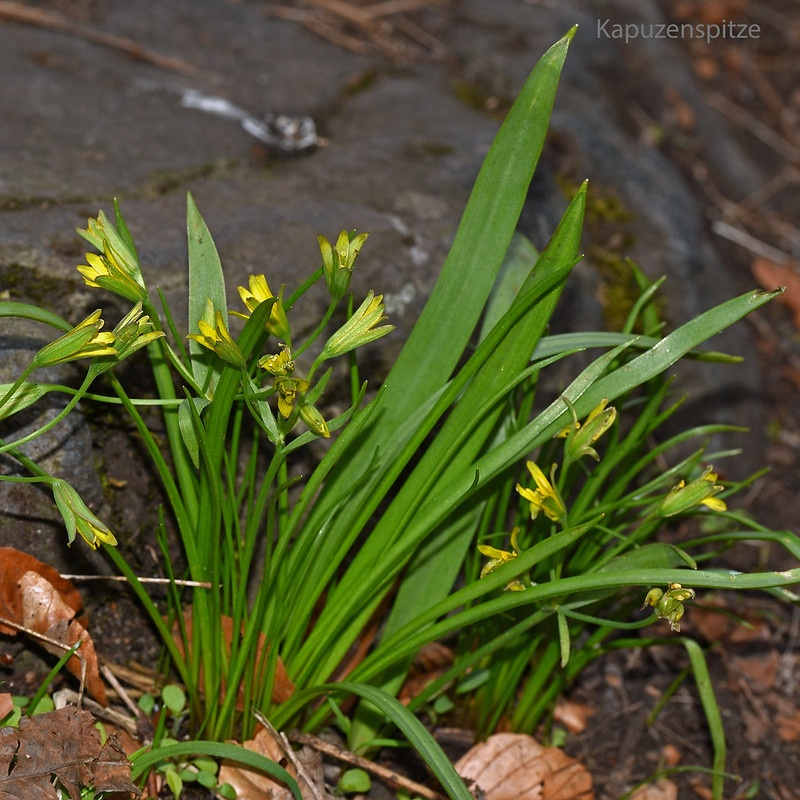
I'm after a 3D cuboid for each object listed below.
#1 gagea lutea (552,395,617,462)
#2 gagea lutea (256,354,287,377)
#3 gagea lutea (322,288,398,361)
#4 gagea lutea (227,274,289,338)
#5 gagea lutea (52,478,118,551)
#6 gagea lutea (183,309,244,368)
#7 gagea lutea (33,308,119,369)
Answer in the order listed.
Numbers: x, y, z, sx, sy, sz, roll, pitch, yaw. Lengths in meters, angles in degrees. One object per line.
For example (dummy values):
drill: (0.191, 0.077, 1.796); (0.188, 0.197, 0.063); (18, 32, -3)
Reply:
gagea lutea: (0.339, 0.065, 1.663); (0.091, 0.104, 0.101); (39, 6, 23)
gagea lutea: (-0.215, -0.059, 1.556); (0.039, 0.052, 0.023); (67, 16, -9)
gagea lutea: (-0.074, -0.137, 1.724); (0.084, 0.198, 0.077); (65, 5, 9)
gagea lutea: (-0.255, -0.173, 1.661); (0.107, 0.056, 0.116); (-7, 79, -59)
gagea lutea: (-0.563, 0.235, 1.642); (0.046, 0.128, 0.064); (-45, 121, -23)
gagea lutea: (-0.313, -0.095, 1.590); (0.084, 0.110, 0.067); (12, 26, 3)
gagea lutea: (-0.571, -0.101, 1.658); (0.074, 0.161, 0.084); (64, 5, -68)
